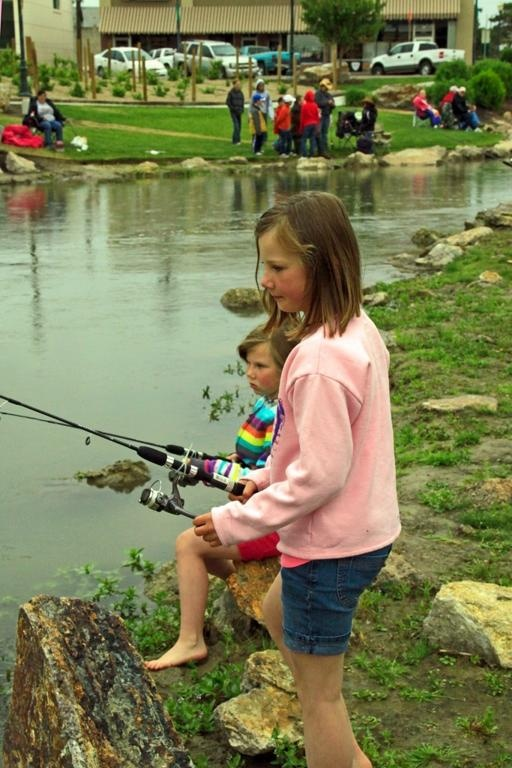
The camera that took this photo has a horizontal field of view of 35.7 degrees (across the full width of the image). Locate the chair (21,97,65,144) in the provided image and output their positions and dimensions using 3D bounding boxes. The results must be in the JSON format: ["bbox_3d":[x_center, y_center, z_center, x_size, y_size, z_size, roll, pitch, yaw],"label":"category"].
[{"bbox_3d":[-6.382,-7.960,23.976,1.126,1.752,1.074,-15,19,-35],"label":"chair"}]

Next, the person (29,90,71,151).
[{"bbox_3d":[-6.326,-7.947,23.958,1.064,1.644,1.265,-17,25,-38],"label":"person"}]

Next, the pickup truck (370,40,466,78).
[{"bbox_3d":[8.844,-18.239,46.090,7.168,2.363,3.472,12,25,34],"label":"pickup truck"}]

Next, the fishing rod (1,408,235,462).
[{"bbox_3d":[-0.875,0.324,4.967,1.557,0.121,0.140,9,8,2],"label":"fishing rod"}]
